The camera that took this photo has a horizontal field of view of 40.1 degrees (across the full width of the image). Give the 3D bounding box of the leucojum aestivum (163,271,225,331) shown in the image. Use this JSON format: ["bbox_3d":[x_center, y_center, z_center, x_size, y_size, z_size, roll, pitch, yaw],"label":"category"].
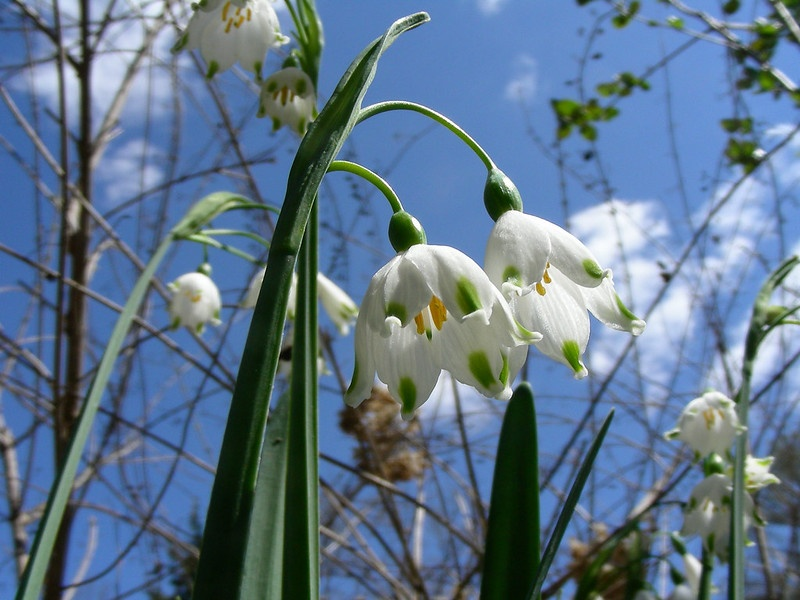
[{"bbox_3d":[-0.656,0.020,3.389,0.144,0.197,0.213,12,-12,-3],"label":"leucojum aestivum"}]
